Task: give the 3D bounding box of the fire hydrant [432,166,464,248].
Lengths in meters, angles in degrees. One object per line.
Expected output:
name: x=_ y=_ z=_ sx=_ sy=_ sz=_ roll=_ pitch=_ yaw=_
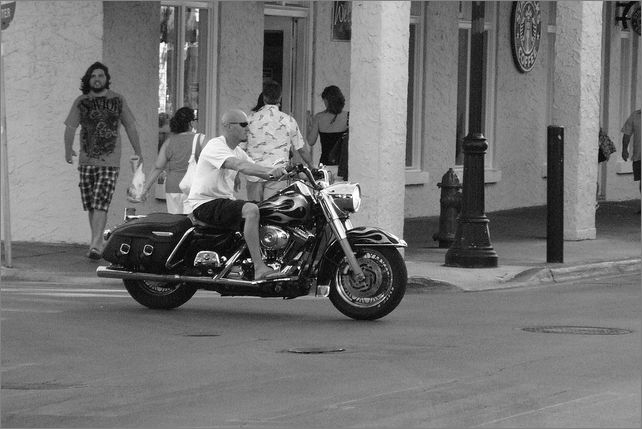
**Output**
fire hydrant: x=2.111 y=-0.083 z=15.103 sx=0.420 sy=1.311 sz=0.623 roll=2 pitch=6 yaw=6
